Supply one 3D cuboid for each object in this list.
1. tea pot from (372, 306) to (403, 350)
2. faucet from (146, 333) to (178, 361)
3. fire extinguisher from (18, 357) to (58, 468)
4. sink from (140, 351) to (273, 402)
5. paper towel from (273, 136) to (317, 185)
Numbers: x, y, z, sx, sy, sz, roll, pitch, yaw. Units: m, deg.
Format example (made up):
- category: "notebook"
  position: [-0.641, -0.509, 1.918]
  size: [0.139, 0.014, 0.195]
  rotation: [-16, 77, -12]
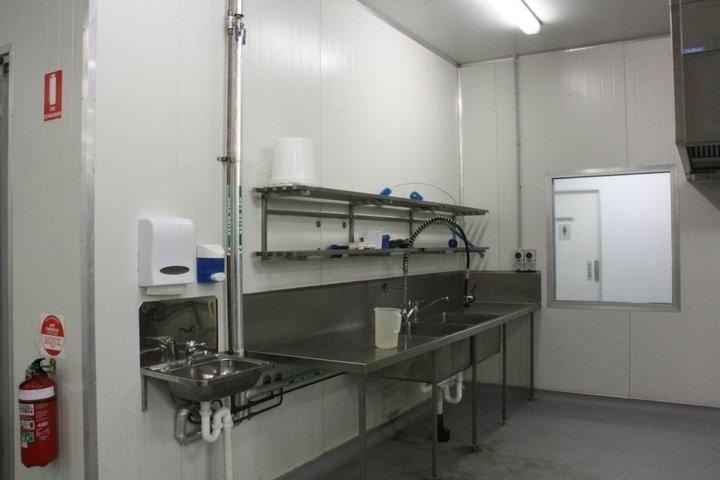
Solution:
- category: "tea pot"
  position: [0.189, 0.598, 4.010]
  size: [0.171, 0.264, 0.253]
  rotation: [-1, 7, -1]
- category: "faucet"
  position: [-1.229, 0.649, 3.527]
  size: [0.221, 0.159, 0.097]
  rotation: [2, -4, 17]
- category: "fire extinguisher"
  position: [-1.939, 0.999, 3.502]
  size: [0.218, 0.631, 0.201]
  rotation: [-2, -3, 34]
- category: "sink"
  position: [-0.937, 0.864, 3.548]
  size: [0.689, 0.288, 0.400]
  rotation: [-6, 9, -39]
- category: "paper towel"
  position: [-0.449, -0.529, 4.055]
  size: [0.305, 0.313, 0.313]
  rotation: [-2, -4, 30]
